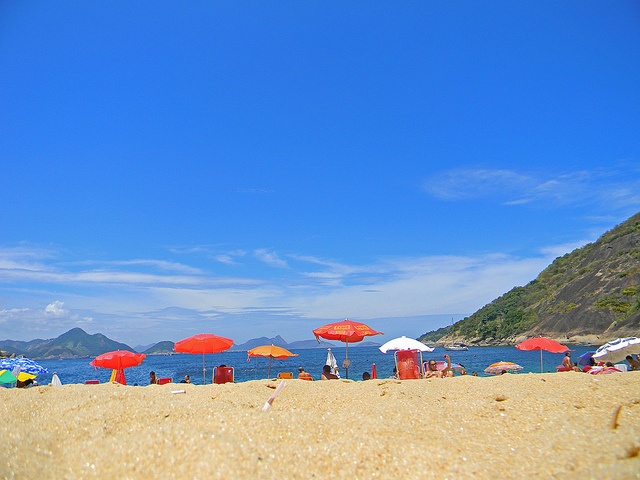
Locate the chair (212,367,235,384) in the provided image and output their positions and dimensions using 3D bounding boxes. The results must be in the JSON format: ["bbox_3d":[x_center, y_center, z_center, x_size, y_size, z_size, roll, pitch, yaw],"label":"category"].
[{"bbox_3d":[-2.797,3.942,15.597,0.555,0.656,1.896,1,-20,-10],"label":"chair"}]

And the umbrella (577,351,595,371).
[{"bbox_3d":[8.345,3.765,16.705,0.471,0.552,1.254,-13,-22,24],"label":"umbrella"}]

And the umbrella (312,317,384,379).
[{"bbox_3d":[0.826,3.275,15.984,2.241,1.808,2.172,0,-4,-2],"label":"umbrella"}]

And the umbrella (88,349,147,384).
[{"bbox_3d":[-6.696,4.232,17.812,1.726,0.995,1.596,5,4,32],"label":"umbrella"}]

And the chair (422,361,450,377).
[{"bbox_3d":[3.140,3.544,14.396,0.422,0.517,0.510,0,-43,0],"label":"chair"}]

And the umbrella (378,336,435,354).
[{"bbox_3d":[2.330,2.907,14.768,1.261,0.487,1.206,-5,-20,7],"label":"umbrella"}]

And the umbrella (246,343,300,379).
[{"bbox_3d":[-1.540,3.826,17.098,1.577,0.872,1.444,1,-5,-26],"label":"umbrella"}]

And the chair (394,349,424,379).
[{"bbox_3d":[2.351,3.324,14.262,0.957,0.869,0.702,0,-29,1],"label":"chair"}]

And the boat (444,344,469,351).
[{"bbox_3d":[29.978,23.895,119.797,6.707,1.414,2.125,-5,-23,22],"label":"boat"}]
